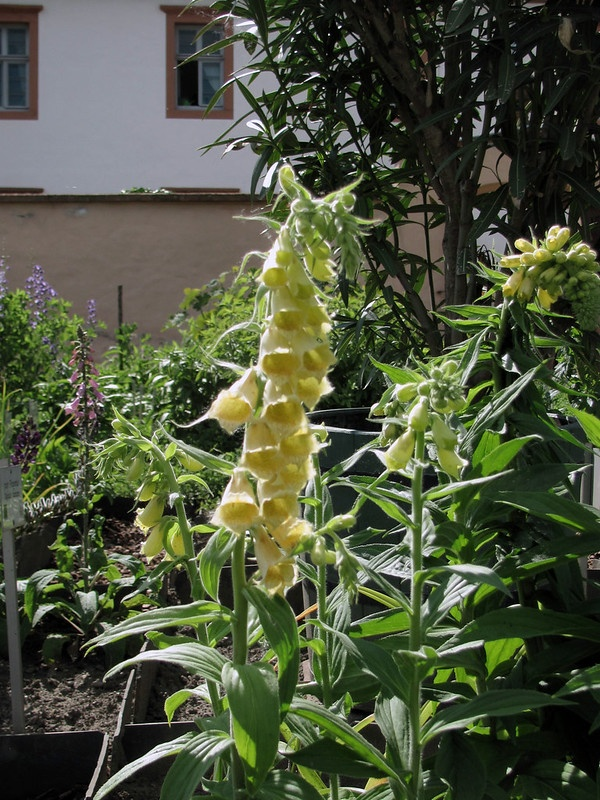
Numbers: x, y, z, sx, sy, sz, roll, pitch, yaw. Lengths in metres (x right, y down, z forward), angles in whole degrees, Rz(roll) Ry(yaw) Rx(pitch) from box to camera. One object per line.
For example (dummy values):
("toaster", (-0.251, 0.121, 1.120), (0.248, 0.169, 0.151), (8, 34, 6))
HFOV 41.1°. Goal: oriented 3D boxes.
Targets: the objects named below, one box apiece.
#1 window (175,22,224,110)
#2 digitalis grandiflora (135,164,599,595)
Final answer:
("window", (-1.350, -4.430, 10.675), (0.799, 1.205, 0.109), (-1, -6, -7))
("digitalis grandiflora", (0.112, -0.001, 0.822), (0.414, 0.384, 0.241), (1, 0, -35))
